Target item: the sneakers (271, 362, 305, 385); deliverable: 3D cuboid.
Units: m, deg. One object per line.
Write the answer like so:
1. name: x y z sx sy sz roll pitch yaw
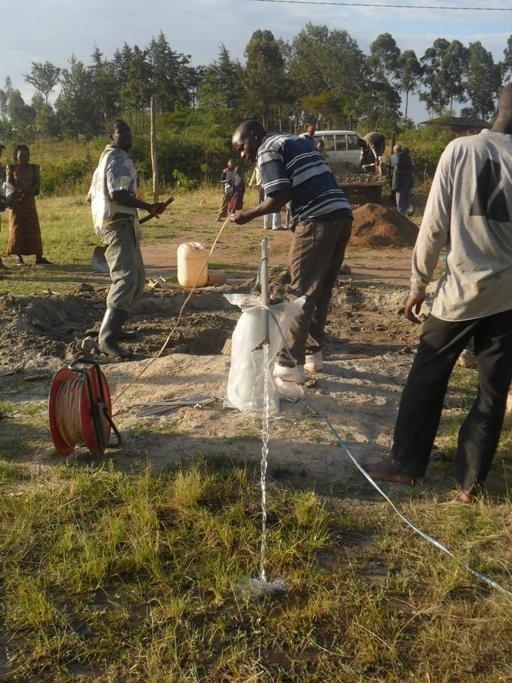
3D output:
1. sneakers: 0.234 0.239 5.054 0.290 0.116 0.103 21 13 23

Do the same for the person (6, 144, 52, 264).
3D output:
1. person: -3.578 -2.092 11.156 0.514 1.846 0.603 11 17 31

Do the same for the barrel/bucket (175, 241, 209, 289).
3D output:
1. barrel/bucket: -0.813 -0.961 9.130 0.396 0.559 0.339 -10 22 -29

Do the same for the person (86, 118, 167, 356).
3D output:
1. person: -1.182 -0.886 6.221 0.626 1.990 0.726 -1 15 -8
